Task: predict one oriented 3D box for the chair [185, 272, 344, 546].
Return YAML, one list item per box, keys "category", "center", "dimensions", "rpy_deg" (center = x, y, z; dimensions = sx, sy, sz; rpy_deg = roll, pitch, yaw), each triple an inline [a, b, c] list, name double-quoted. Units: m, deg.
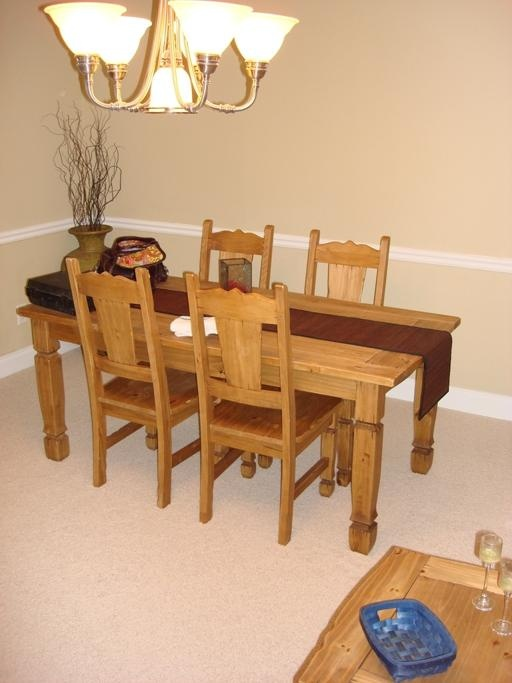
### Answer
- category: "chair"
  center: [0.031, 0.258, 2.151]
  dimensions: [0.579, 1.007, 0.806]
  rpy_deg: [2, 5, 7]
